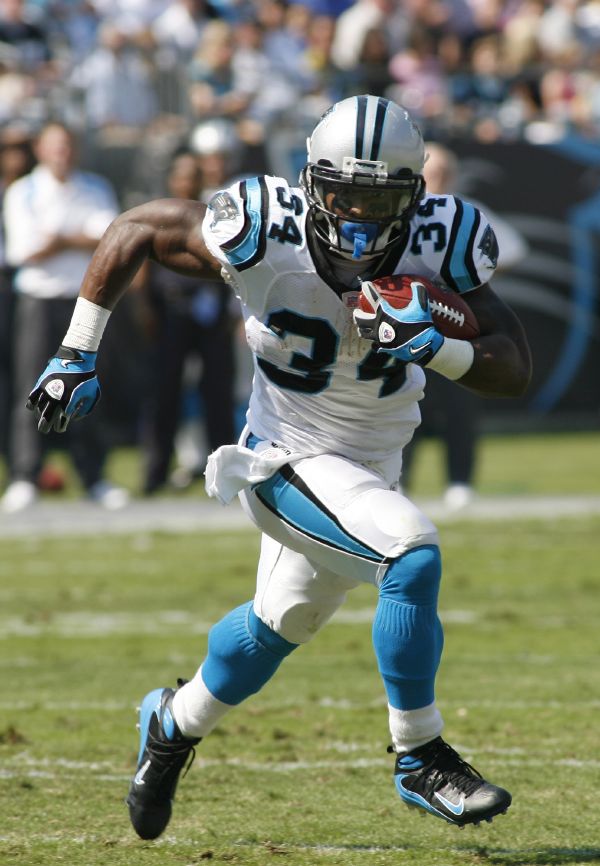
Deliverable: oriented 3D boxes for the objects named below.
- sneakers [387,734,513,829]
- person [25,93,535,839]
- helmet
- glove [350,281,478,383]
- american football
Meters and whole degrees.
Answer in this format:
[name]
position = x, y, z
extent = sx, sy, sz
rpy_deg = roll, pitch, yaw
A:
[sneakers]
position = 0.254, 0.614, 1.853
extent = 0.112, 0.120, 0.258
rpy_deg = -25, 16, -33
[person]
position = 0.001, 0.073, 2.005
extent = 0.898, 1.445, 0.431
rpy_deg = 0, 1, 26
[helmet]
position = 0.119, -0.474, 1.893
extent = 0.216, 0.316, 0.158
rpy_deg = 0, 1, 2
[glove]
position = 0.224, -0.194, 1.766
extent = 0.232, 0.161, 0.110
rpy_deg = 16, 67, 37
[american football]
position = 0.215, -0.229, 1.792
extent = 0.185, 0.070, 0.125
rpy_deg = 15, -1, 9
